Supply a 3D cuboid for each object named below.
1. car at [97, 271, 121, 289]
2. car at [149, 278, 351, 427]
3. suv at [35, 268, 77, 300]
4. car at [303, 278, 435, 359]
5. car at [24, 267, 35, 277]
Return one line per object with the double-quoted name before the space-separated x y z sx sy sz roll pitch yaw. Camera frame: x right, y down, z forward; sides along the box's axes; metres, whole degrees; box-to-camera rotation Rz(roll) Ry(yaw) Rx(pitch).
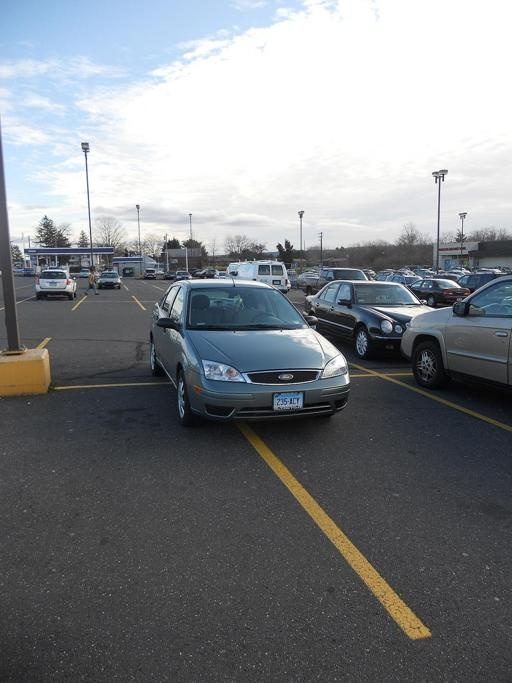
"car" -11.947 -5.057 34.752 1.284 1.206 2.274 -1 6 -13
"car" -0.308 0.032 4.989 1.259 1.088 2.640 -2 8 -17
"suv" -11.007 -3.156 23.293 1.824 1.705 1.907 -1 5 -8
"car" 2.344 -0.555 9.347 1.327 1.216 3.341 1 8 -14
"car" -38.126 -11.677 71.316 1.284 1.308 2.319 -2 27 -23
